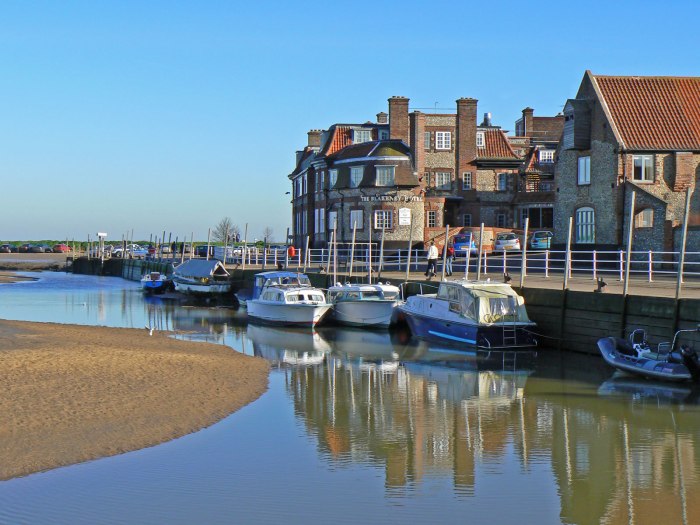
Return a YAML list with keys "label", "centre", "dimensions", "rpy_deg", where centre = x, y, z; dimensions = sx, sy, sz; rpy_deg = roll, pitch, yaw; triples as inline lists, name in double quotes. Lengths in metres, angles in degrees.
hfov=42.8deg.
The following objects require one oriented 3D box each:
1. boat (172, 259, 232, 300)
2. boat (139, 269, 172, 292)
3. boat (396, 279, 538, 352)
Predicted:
- label: "boat"
  centre: [-10.454, 1.326, 63.809]
  dimensions: [2.196, 3.026, 4.357]
  rpy_deg: [-8, 14, -43]
- label: "boat"
  centre: [-15.344, 1.669, 71.442]
  dimensions: [1.396, 1.595, 2.799]
  rpy_deg: [-8, 14, -43]
- label: "boat"
  centre: [5.933, 3.514, 38.507]
  dimensions: [2.723, 2.290, 7.440]
  rpy_deg: [-4, 5, -32]
